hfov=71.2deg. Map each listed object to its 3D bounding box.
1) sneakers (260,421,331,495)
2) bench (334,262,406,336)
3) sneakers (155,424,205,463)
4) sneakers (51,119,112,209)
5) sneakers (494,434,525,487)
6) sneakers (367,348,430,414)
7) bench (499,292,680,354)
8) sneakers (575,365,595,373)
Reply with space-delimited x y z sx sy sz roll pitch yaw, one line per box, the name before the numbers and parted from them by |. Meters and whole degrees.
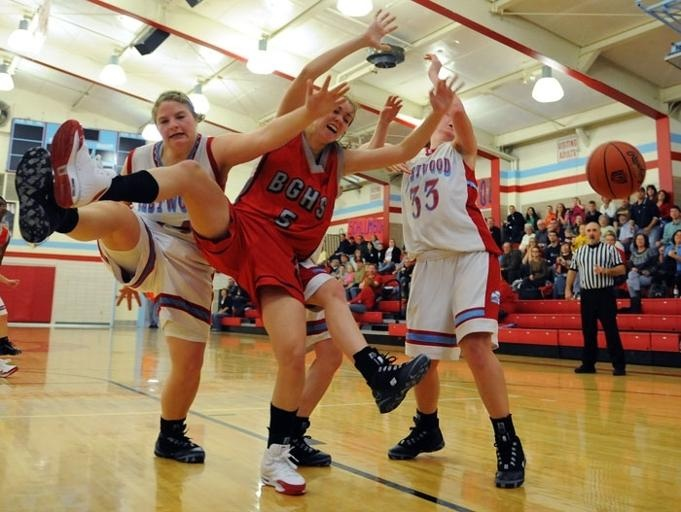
sneakers | -0.162 0.820 1.920 0.149 0.247 0.377 8 -16 -41
bench | 0.730 1.010 10.813 1.333 1.199 1.825 0 -2 -11
sneakers | -0.718 0.830 2.143 0.264 0.158 0.091 -5 -3 26
sneakers | -0.955 -0.332 1.786 0.194 0.315 0.173 0 -3 13
sneakers | 0.662 0.840 1.896 0.085 0.109 0.247 -5 -8 10
sneakers | 0.197 0.485 1.832 0.165 0.246 0.231 3 -4 -38
bench | 3.929 1.080 7.651 1.125 0.844 2.795 3 -4 -39
sneakers | 2.955 1.378 5.803 0.221 0.099 0.170 0 -3 20
